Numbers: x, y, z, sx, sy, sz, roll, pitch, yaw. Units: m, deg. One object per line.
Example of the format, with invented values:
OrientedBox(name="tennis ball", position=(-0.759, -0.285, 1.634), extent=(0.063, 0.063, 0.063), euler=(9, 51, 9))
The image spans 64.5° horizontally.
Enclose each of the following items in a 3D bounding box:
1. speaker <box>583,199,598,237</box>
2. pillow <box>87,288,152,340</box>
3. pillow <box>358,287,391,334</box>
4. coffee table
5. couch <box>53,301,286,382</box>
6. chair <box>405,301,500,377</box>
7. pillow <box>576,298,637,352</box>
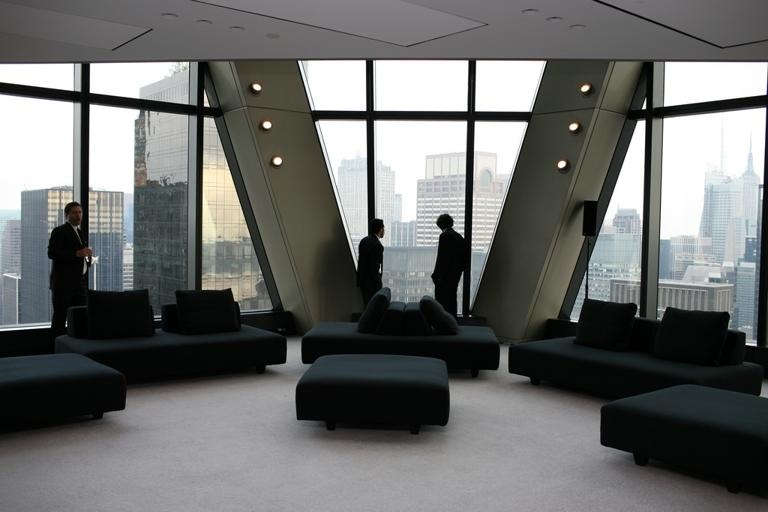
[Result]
OrientedBox(name="speaker", position=(3.414, -0.617, 10.118), extent=(0.218, 0.582, 0.328), euler=(3, 10, 15))
OrientedBox(name="pillow", position=(-3.671, 0.833, 8.417), extent=(0.603, 0.543, 0.204), euler=(-3, -19, -24))
OrientedBox(name="pillow", position=(-0.106, 0.750, 9.268), extent=(0.272, 0.511, 0.743), euler=(11, 7, 6))
OrientedBox(name="coffee table", position=(-0.111, 1.600, 6.942), extent=(1.644, 0.607, 0.789), euler=(2, 9, 3))
OrientedBox(name="couch", position=(-2.937, 1.217, 8.553), extent=(2.930, 0.995, 1.046), euler=(-3, 10, -24))
OrientedBox(name="chair", position=(1.051, 1.197, 8.963), extent=(1.099, 0.984, 1.160), euler=(-2, 3, -2))
OrientedBox(name="pillow", position=(3.031, 0.969, 8.478), extent=(0.370, 0.634, 0.770), euler=(8, -3, -37))
